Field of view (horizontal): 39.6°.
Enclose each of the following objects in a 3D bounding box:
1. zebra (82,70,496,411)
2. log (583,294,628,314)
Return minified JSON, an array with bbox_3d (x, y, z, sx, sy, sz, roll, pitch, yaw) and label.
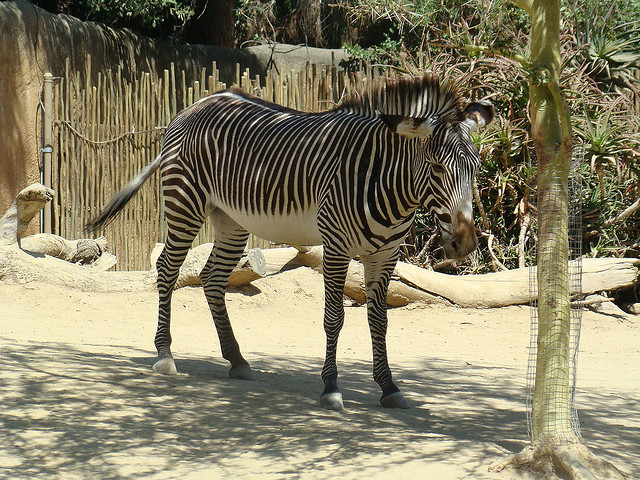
[{"bbox_3d":[-0.451,-0.136,8.593,4.846,2.721,1.593,10,10,42],"label":"zebra"},{"bbox_3d":[3.668,0.811,11.397,0.443,0.091,0.245,18,9,-2],"label":"log"}]
